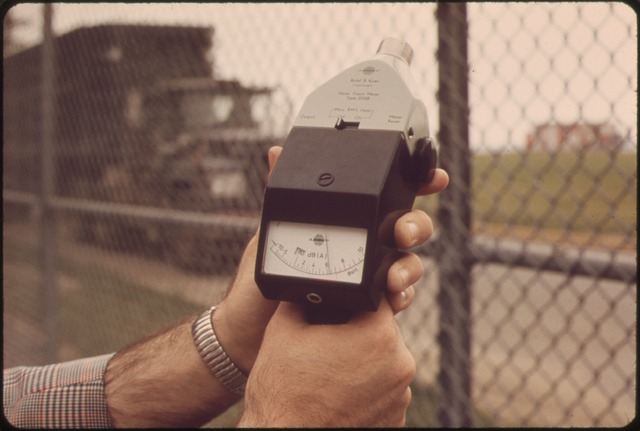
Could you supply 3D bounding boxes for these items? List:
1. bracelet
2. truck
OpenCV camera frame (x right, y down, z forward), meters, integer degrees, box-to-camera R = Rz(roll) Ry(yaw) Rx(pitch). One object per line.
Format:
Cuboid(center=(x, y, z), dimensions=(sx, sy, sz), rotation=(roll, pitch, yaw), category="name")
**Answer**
Cuboid(center=(-0.357, 0.477, 2.495), dimensions=(0.085, 0.214, 0.250), rotation=(-28, 91, -11), category="bracelet")
Cuboid(center=(-0.527, -0.306, 3.665), dimensions=(1.687, 1.132, 0.997), rotation=(4, 94, 23), category="truck")
